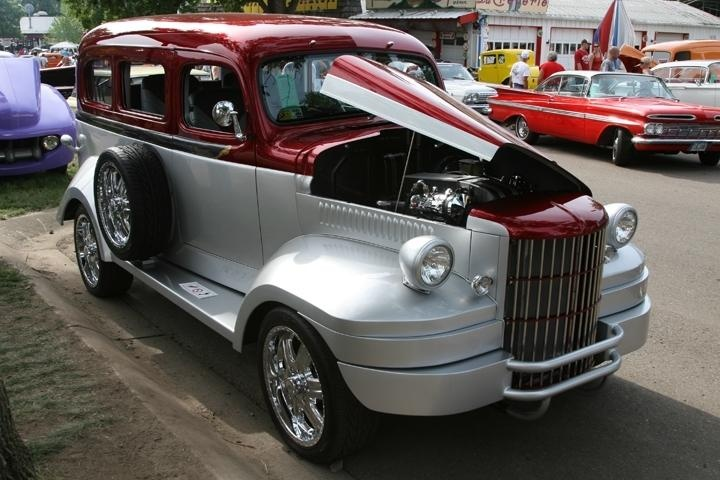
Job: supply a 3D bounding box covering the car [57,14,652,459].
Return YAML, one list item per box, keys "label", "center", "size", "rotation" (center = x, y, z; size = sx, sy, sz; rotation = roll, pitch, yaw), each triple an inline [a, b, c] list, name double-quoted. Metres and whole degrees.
- label: "car"
  center: [-0.683, -0.510, 5.277]
  size: [3.019, 2.785, 5.808]
  rotation: [-14, 23, -38]

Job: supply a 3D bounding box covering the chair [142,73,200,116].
- label: "chair"
  center: [-1.900, -1.624, 5.450]
  size: [0.478, 0.647, 0.662]
  rotation: [0, 9, -19]

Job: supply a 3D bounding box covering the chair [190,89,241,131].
- label: "chair"
  center: [-1.329, -1.193, 5.087]
  size: [0.512, 0.515, 0.525]
  rotation: [-3, 23, -12]
